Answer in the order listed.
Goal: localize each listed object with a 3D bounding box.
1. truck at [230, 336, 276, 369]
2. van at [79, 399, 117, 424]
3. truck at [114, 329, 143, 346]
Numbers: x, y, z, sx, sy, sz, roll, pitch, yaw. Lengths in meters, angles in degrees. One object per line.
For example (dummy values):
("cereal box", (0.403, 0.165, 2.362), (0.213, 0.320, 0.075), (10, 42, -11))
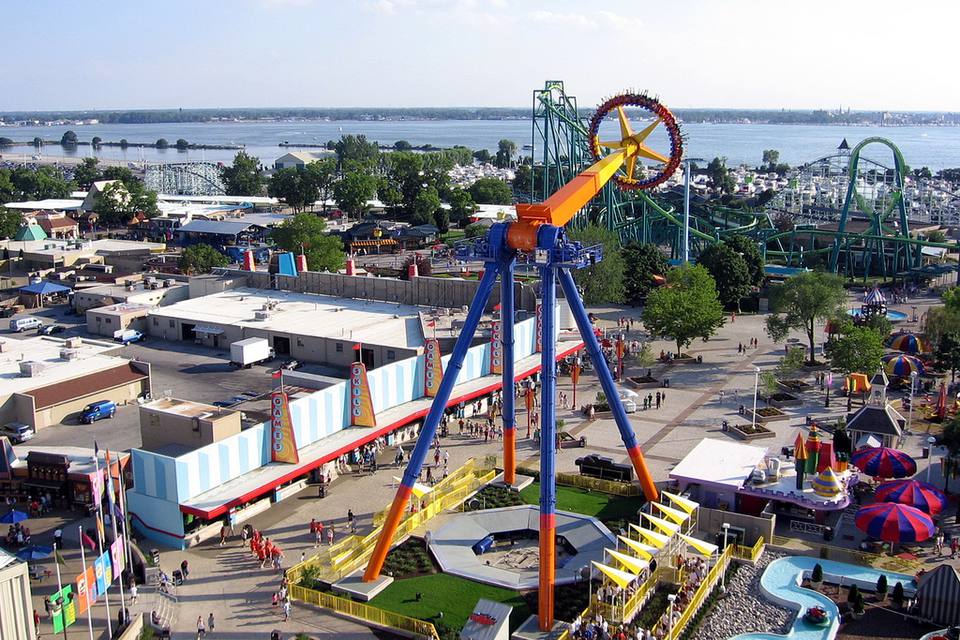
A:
("truck", (-22.228, 3.000, 101.840), (2.205, 2.236, 3.985), (5, 9, 27))
("van", (-32.788, 7.889, 89.073), (1.578, 1.127, 2.463), (2, 3, 38))
("truck", (-36.617, 1.809, 108.567), (1.445, 1.149, 2.258), (14, 19, 35))
